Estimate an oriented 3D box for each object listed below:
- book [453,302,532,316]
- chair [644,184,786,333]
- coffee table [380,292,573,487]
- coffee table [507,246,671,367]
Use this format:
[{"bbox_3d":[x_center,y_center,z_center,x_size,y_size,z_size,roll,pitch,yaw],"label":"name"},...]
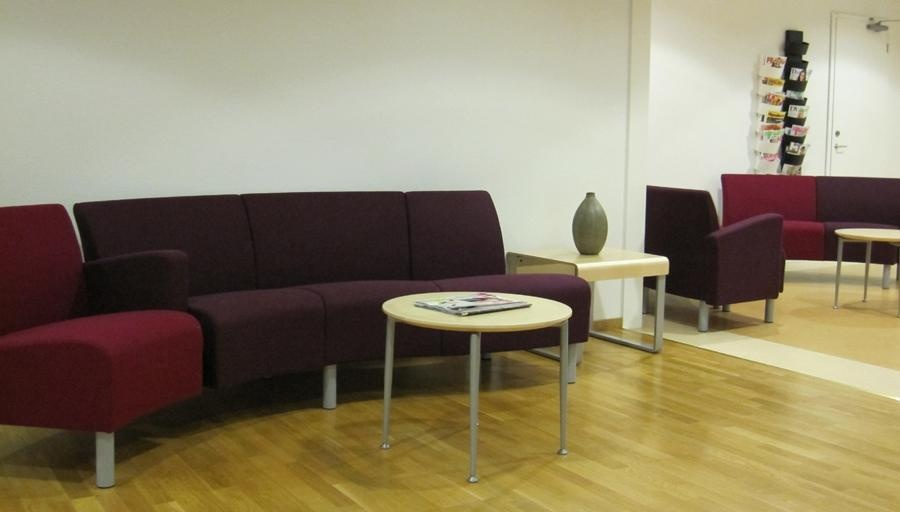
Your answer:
[{"bbox_3d":[0.240,0.296,3.764,0.475,0.040,0.079,-6,12,-26],"label":"book"},{"bbox_3d":[2.255,0.044,6.358,1.085,1.242,1.260,-4,-6,-17],"label":"chair"},{"bbox_3d":[0.088,0.735,3.788,1.033,0.735,1.047,9,-16,-27],"label":"coffee table"},{"bbox_3d":[1.027,0.317,5.405,0.987,0.756,1.063,-3,7,-33],"label":"coffee table"}]
